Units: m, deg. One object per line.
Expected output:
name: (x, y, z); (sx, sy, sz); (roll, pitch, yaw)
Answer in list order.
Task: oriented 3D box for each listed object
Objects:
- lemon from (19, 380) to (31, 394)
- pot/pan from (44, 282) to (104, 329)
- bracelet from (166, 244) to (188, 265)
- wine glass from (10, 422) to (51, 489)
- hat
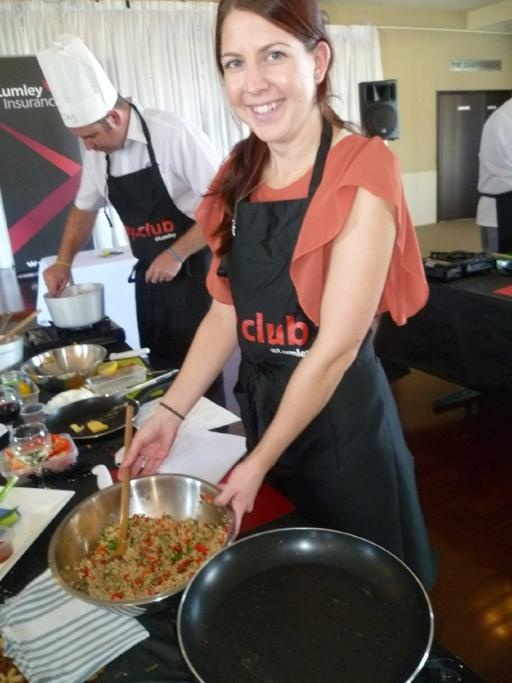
lemon: (-0.645, 0.128, 1.504); (0.027, 0.032, 0.057); (-11, 19, -21)
pot/pan: (-0.667, -0.130, 2.028); (0.238, 0.157, 0.164); (-18, 23, -39)
bracelet: (-0.315, -0.337, 2.130); (0.030, 0.075, 0.068); (-49, 12, -15)
wine glass: (-0.467, 0.229, 1.126); (0.075, 0.095, 0.105); (-13, 20, -27)
hat: (-0.680, -1.007, 2.083); (0.257, 0.372, 0.351); (-11, 19, -22)
